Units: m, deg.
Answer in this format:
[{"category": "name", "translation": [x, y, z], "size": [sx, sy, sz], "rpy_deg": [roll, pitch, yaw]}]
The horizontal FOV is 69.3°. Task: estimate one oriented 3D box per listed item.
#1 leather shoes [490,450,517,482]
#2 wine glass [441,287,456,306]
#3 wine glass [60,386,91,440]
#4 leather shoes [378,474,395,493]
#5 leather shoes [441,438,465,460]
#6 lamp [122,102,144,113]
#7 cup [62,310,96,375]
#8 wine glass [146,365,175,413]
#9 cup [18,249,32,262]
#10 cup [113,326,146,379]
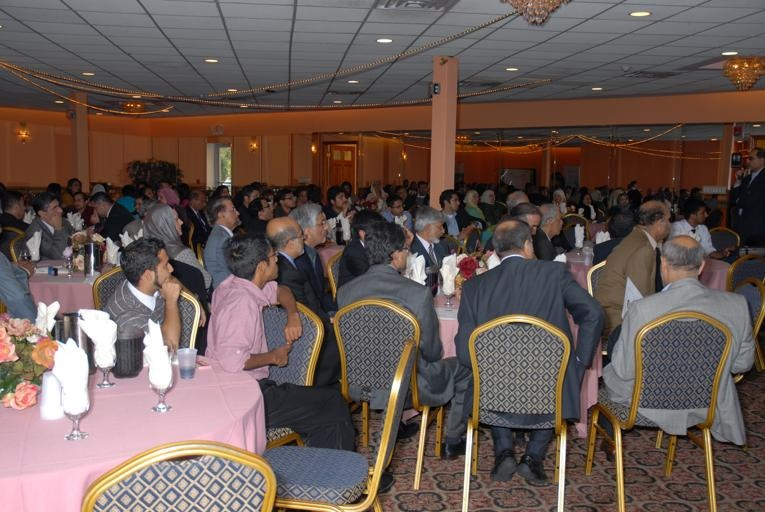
[{"category": "leather shoes", "translation": [0.756, 1.326, 3.498], "size": [0.136, 0.135, 0.209], "rpy_deg": [2, 14, 7]}, {"category": "wine glass", "translation": [0.506, 0.320, 4.244], "size": [0.117, 0.155, 0.103], "rpy_deg": [-1, 8, 9]}, {"category": "wine glass", "translation": [-1.216, 0.596, 2.185], "size": [0.093, 0.202, 0.195], "rpy_deg": [-6, 9, -31]}, {"category": "leather shoes", "translation": [0.020, 1.396, 3.409], "size": [0.097, 0.094, 0.247], "rpy_deg": [-2, -10, 10]}, {"category": "leather shoes", "translation": [0.485, 1.322, 3.818], "size": [0.094, 0.077, 0.195], "rpy_deg": [1, 3, 32]}, {"category": "lamp", "translation": [-5.728, -3.410, 12.726], "size": [0.323, 0.100, 0.281], "rpy_deg": [2, 6, 7]}, {"category": "cup", "translation": [-1.443, 0.388, 2.621], "size": [0.092, 0.227, 0.189], "rpy_deg": [-9, 11, -44]}, {"category": "wine glass", "translation": [-0.967, 0.535, 2.409], "size": [0.087, 0.238, 0.185], "rpy_deg": [-5, 8, -22]}, {"category": "cup", "translation": [-3.404, 0.000, 5.272], "size": [0.118, 0.055, 0.148], "rpy_deg": [-2, 16, -10]}, {"category": "cup", "translation": [-1.245, 0.467, 2.699], "size": [0.151, 0.248, 0.147], "rpy_deg": [-1, 8, 0]}]
